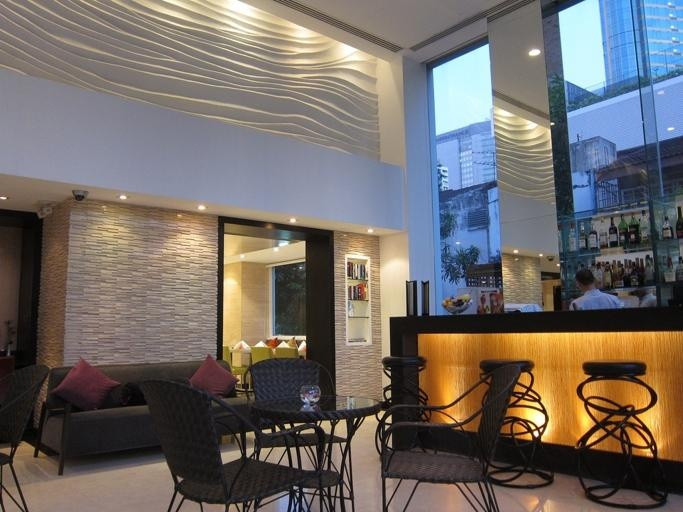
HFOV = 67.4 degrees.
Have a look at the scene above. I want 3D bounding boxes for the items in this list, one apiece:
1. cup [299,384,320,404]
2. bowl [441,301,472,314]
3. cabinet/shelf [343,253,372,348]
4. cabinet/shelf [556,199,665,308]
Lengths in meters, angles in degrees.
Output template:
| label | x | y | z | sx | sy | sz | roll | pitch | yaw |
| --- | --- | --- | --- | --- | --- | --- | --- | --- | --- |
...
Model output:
| label | x | y | z | sx | sy | sz | roll | pitch | yaw |
| --- | --- | --- | --- | --- | --- | --- | --- | --- | --- |
| cup | -0.225 | 1.004 | 3.744 | 0.133 | 0.117 | 0.136 | 1 | -4 | 0 |
| bowl | 1.347 | 0.622 | 5.955 | 0.315 | 0.175 | 0.687 | -4 | -12 | 12 |
| cabinet/shelf | 0.290 | 0.762 | 8.909 | 0.519 | 1.531 | 0.263 | 3 | -12 | -18 |
| cabinet/shelf | 3.359 | -0.010 | 6.320 | 1.327 | 1.319 | 0.442 | -3 | -4 | 41 |
